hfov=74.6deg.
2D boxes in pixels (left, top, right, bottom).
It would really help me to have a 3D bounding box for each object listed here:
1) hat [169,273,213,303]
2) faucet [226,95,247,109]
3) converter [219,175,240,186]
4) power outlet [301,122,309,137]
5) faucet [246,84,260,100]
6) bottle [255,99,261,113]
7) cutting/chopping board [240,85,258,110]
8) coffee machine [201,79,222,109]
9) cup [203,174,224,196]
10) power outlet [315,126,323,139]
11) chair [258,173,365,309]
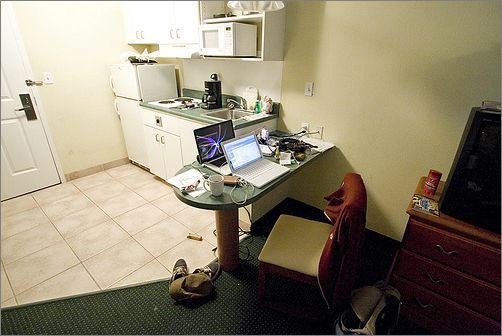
[{"bbox_3d":[-0.576,1.157,3.186,0.374,0.174,0.224,-10,65,-3],"label":"hat"},{"bbox_3d":[-0.190,-0.852,4.323,0.266,0.153,0.145,-19,36,-38],"label":"faucet"},{"bbox_3d":[-0.182,0.120,3.063,0.115,0.028,0.094,15,31,20],"label":"converter"},{"bbox_3d":[0.646,-0.456,3.921,0.108,0.198,0.020,29,39,36],"label":"power outlet"},{"bbox_3d":[0.031,-0.951,4.153,0.155,0.156,0.061,26,43,33],"label":"faucet"},{"bbox_3d":[0.086,-0.757,4.106,0.076,0.130,0.141,-1,26,-2],"label":"bottle"},{"bbox_3d":[-0.046,-0.876,4.119,0.190,0.269,0.064,9,19,34],"label":"cutting/chopping board"},{"bbox_3d":[-0.504,-0.948,4.304,0.235,0.383,0.264,29,41,36],"label":"coffee machine"},{"bbox_3d":[-0.321,0.134,2.994,0.128,0.150,0.198,-22,35,-32],"label":"cup"},{"bbox_3d":[0.795,-0.414,3.853,0.100,0.180,0.022,22,36,40],"label":"power outlet"},{"bbox_3d":[0.563,0.612,2.976,0.829,1.028,0.579,10,28,19],"label":"chair"}]
